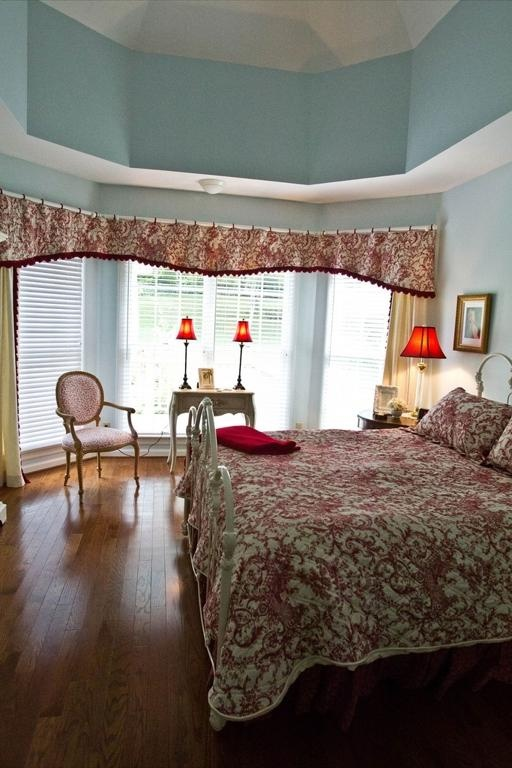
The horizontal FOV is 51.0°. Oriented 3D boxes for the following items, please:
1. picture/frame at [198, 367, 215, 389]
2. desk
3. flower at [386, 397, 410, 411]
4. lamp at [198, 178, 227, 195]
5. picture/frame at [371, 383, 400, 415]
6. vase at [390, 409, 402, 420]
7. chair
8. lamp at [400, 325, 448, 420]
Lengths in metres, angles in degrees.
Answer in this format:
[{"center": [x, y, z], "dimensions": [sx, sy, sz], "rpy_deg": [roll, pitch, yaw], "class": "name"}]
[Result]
[{"center": [-0.441, -0.054, 4.713], "dimensions": [0.173, 0.231, 0.023], "rpy_deg": [-1, -11, -18], "class": "picture/frame"}, {"center": [-0.382, 0.537, 4.873], "dimensions": [0.909, 0.900, 0.634], "rpy_deg": [0, 1, -10], "class": "desk"}, {"center": [1.094, 0.151, 4.126], "dimensions": [0.107, 0.081, 0.103], "rpy_deg": [-3, 7, -31], "class": "flower"}, {"center": [-0.371, -1.636, 4.415], "dimensions": [0.217, 0.057, 0.301], "rpy_deg": [2, 6, -4], "class": "lamp"}, {"center": [1.041, 0.120, 4.293], "dimensions": [0.201, 0.295, 0.029], "rpy_deg": [7, 13, 10], "class": "picture/frame"}, {"center": [1.064, 0.233, 4.100], "dimensions": [0.068, 0.060, 0.066], "rpy_deg": [3, -1, -4], "class": "vase"}, {"center": [-1.241, 0.368, 4.063], "dimensions": [0.571, 0.916, 0.571], "rpy_deg": [3, 8, 22], "class": "chair"}, {"center": [1.253, -0.107, 4.101], "dimensions": [0.329, 0.690, 0.334], "rpy_deg": [0, 7, -23], "class": "lamp"}]
